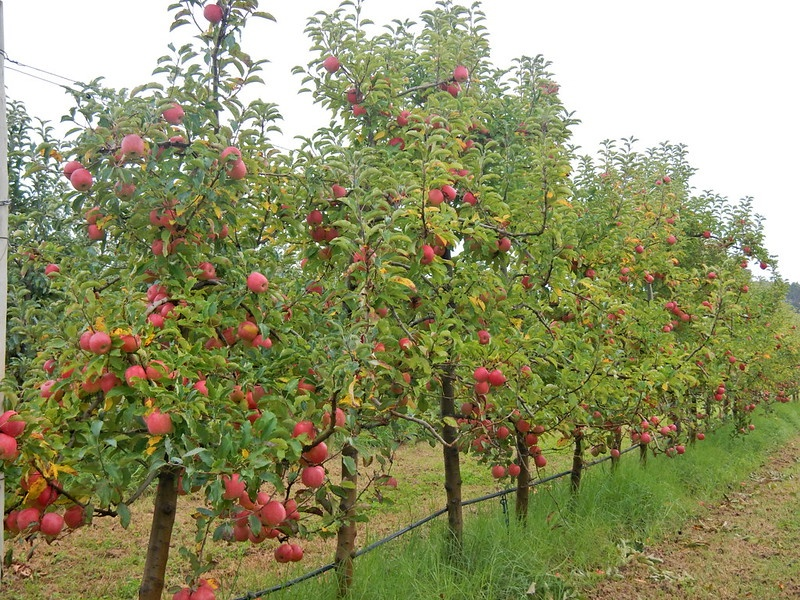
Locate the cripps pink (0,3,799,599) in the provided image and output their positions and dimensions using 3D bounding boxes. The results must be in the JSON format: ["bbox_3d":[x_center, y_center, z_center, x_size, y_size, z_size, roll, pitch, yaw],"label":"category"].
[{"bbox_3d":[-0.041,-0.481,7.393,5.840,5.223,6.267,-6,-27,-10],"label":"cripps pink"}]
